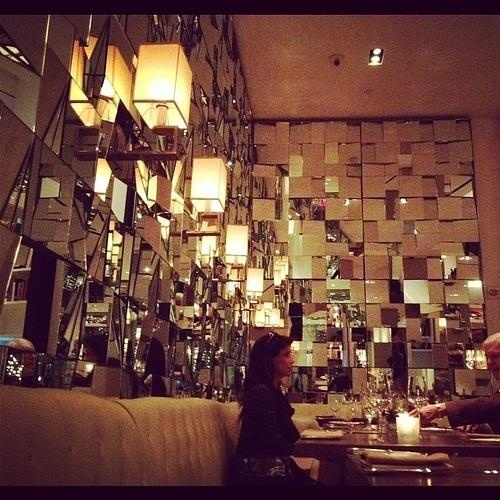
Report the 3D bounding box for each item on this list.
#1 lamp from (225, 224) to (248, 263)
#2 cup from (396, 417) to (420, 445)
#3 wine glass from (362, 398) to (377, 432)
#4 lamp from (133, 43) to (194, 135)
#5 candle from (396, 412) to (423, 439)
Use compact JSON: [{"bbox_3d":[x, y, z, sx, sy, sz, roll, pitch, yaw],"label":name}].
[{"bbox_3d":[-0.123,-0.068,3.976,0.196,0.333,0.296,2,-13,-4],"label":"lamp"},{"bbox_3d":[0.650,0.740,1.805,0.095,0.116,0.096,0,-10,0],"label":"cup"},{"bbox_3d":[0.702,0.945,2.523,0.103,0.186,0.107,-8,-10,35],"label":"wine glass"},{"bbox_3d":[-0.363,-0.651,1.811,0.220,0.414,0.201,3,-13,-11],"label":"lamp"},{"bbox_3d":[0.659,0.723,1.806,0.089,0.107,0.089,-7,-13,28],"label":"candle"}]
